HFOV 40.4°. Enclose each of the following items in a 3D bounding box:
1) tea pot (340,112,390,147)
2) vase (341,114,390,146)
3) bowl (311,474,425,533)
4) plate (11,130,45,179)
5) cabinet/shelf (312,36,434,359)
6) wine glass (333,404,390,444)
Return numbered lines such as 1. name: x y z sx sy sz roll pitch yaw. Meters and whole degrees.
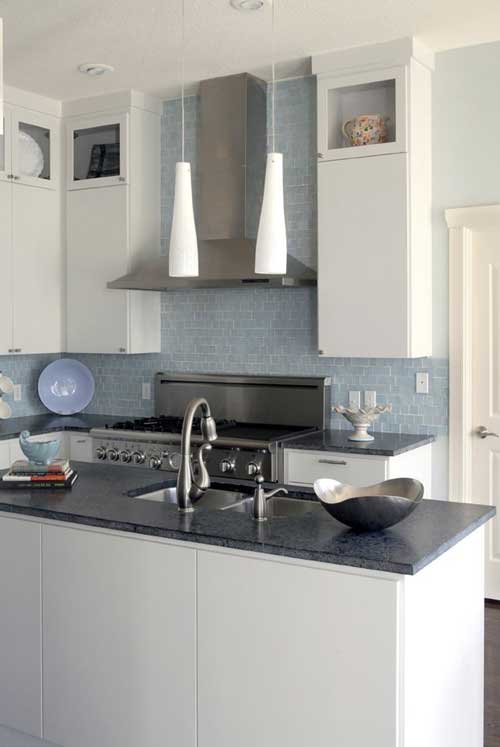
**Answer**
1. tea pot: 0.638 -1.287 3.671 0.194 0.154 0.224 3 11 19
2. vase: 0.607 -1.253 3.615 0.191 0.151 0.220 3 12 21
3. bowl: 0.303 0.328 1.725 0.274 0.138 0.323 3 8 6
4. plate: -1.452 -1.442 4.471 0.048 0.277 0.254 5 8 20
5. cabinet/shelf: 0.680 -0.917 3.724 0.683 1.648 0.406 8 9 34
6. wine glass: 0.622 0.245 3.605 0.215 0.125 0.219 0 3 42
